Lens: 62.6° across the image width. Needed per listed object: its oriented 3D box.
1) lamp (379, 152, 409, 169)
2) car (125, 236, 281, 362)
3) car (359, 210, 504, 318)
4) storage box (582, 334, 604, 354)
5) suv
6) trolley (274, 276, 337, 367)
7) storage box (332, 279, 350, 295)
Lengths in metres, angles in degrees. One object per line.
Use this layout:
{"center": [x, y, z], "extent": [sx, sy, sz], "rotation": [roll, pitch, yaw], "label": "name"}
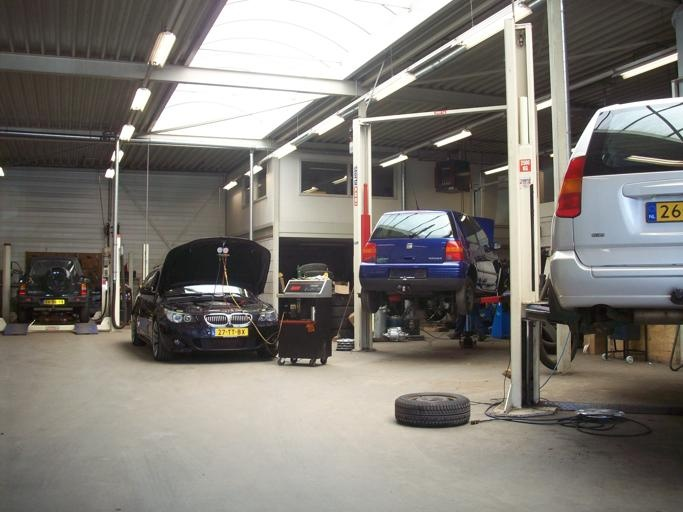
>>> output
{"center": [1.853, -3.329, 19.810], "extent": [0.175, 0.291, 1.683], "rotation": [3, -8, -42], "label": "lamp"}
{"center": [-2.806, 0.842, 11.187], "extent": [1.649, 1.504, 3.255], "rotation": [3, -7, -24], "label": "car"}
{"center": [2.029, 0.162, 11.295], "extent": [2.173, 1.917, 3.940], "rotation": [0, -1, 28], "label": "car"}
{"center": [4.911, 1.737, 11.003], "extent": [0.392, 0.388, 0.384], "rotation": [-1, -5, 4], "label": "storage box"}
{"center": [-8.953, 1.012, 17.505], "extent": [1.925, 1.727, 3.579], "rotation": [1, -4, -29], "label": "suv"}
{"center": [-0.635, 1.149, 9.716], "extent": [0.934, 1.513, 0.841], "rotation": [-1, -3, -4], "label": "trolley"}
{"center": [-0.019, 0.899, 15.669], "extent": [0.641, 0.374, 1.031], "rotation": [1, -1, -12], "label": "storage box"}
